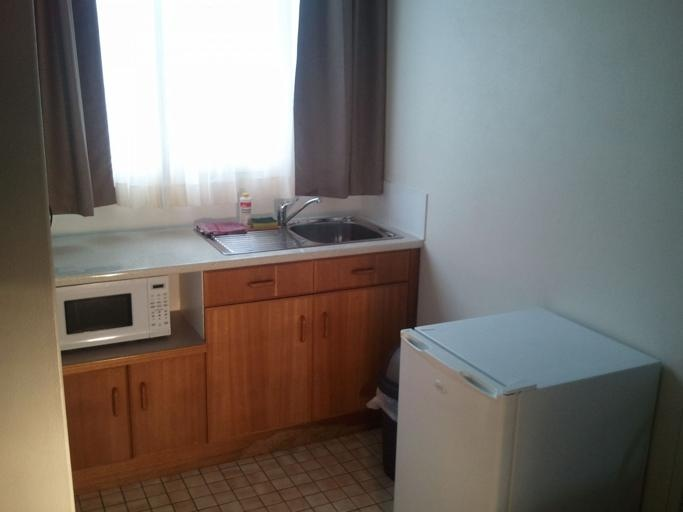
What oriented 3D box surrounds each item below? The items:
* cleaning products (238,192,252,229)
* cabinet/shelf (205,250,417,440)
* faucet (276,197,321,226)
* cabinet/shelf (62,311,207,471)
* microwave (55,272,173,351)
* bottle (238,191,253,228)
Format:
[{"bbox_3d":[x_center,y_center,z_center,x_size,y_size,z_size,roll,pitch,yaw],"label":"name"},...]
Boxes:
[{"bbox_3d":[-0.513,-0.255,2.939,0.073,0.175,0.131,-4,14,-9],"label":"cleaning products"},{"bbox_3d":[-0.178,0.407,2.619,0.815,0.723,0.318,-6,15,-25],"label":"cabinet/shelf"},{"bbox_3d":[-0.246,-0.254,3.034,0.237,0.167,0.374,-3,14,-5],"label":"faucet"},{"bbox_3d":[-0.977,0.674,2.561,0.612,0.593,0.400,-5,11,-26],"label":"cabinet/shelf"},{"bbox_3d":[-1.023,0.196,2.413,0.449,0.301,0.255,-5,28,-28],"label":"microwave"},{"bbox_3d":[-0.517,-0.258,2.948,0.090,0.165,0.093,4,15,-1],"label":"bottle"}]
